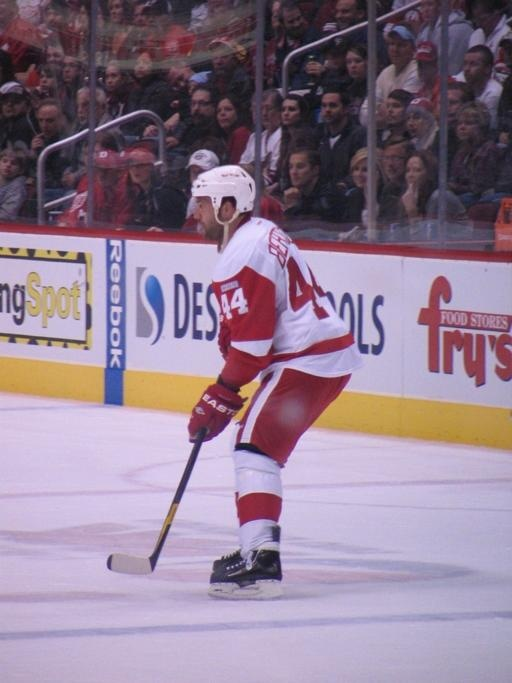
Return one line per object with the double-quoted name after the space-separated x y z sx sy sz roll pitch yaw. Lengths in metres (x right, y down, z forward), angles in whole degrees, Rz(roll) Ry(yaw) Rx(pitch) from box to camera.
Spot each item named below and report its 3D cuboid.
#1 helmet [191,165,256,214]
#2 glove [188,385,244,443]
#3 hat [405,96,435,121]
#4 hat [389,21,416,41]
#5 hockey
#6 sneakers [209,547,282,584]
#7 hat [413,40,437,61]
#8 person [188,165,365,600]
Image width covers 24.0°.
-0.108 -0.503 3.938 0.186 0.135 0.144 -9 16 -1 "helmet"
-0.133 0.215 3.852 0.128 0.216 0.086 32 18 -12 "glove"
0.896 -1.288 6.632 0.126 0.111 0.126 2 8 31 "hat"
0.811 -1.740 6.776 0.165 0.095 0.033 5 8 37 "hat"
-0.307 0.542 4.015 0.148 0.060 0.699 19 31 7 "hockey"
-0.031 0.682 3.710 0.220 0.131 0.144 1 6 6 "sneakers"
0.952 -1.621 6.704 0.083 0.105 0.145 -2 7 -23 "hat"
-0.005 0.098 3.816 0.499 1.315 0.470 -6 9 -44 "person"
